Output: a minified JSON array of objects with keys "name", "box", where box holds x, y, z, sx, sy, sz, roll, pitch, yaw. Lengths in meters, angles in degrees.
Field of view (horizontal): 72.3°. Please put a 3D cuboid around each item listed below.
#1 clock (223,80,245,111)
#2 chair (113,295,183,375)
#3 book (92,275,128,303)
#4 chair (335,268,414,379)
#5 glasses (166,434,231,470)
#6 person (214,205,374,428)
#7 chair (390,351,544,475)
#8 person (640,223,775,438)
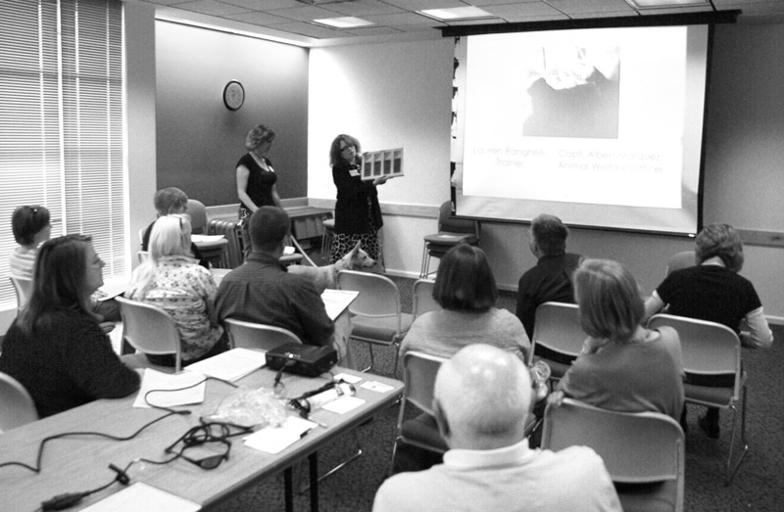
[{"name":"clock","box":[-2.309,-2.368,7.995,0.101,0.438,0.412,8,17,28]},{"name":"chair","box":[-1.499,0.492,3.379,0.279,0.508,0.382,9,25,18]},{"name":"book","box":[-2.512,0.297,4.831,0.210,0.071,0.303,6,13,13]},{"name":"chair","box":[-0.056,0.640,4.554,0.651,1.055,0.690,5,5,44]},{"name":"glasses","box":[-0.778,0.782,2.182,0.185,0.194,0.051,0,28,31]},{"name":"person","box":[-0.776,0.396,3.841,0.771,1.627,1.413,3,15,0]},{"name":"chair","box":[0.261,0.972,2.923,0.500,0.715,0.446,20,-10,-10]},{"name":"person","box":[2.170,0.525,3.823,0.859,1.475,0.782,7,12,28]}]
